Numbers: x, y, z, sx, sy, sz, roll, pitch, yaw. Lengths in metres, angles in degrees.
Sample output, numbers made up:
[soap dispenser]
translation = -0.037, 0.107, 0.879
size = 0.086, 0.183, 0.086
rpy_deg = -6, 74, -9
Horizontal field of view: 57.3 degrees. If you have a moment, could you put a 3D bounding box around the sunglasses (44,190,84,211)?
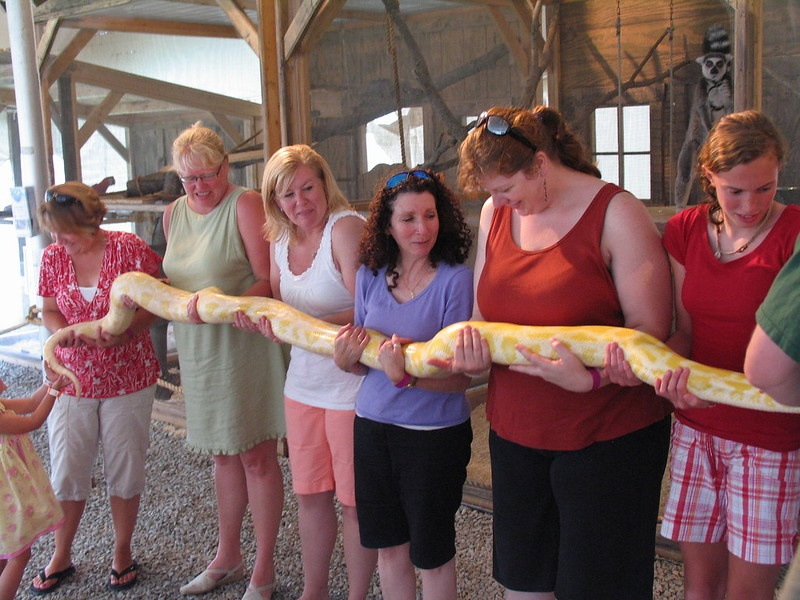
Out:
[sunglasses]
translation = -2.221, -0.660, 4.793
size = 0.117, 0.047, 0.147
rpy_deg = 5, -17, 2

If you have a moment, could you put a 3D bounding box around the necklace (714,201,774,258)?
[necklace]
translation = 1.743, -0.362, 3.750
size = 0.265, 0.282, 0.173
rpy_deg = 5, 10, 32

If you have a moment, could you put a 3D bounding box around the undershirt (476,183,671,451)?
[undershirt]
translation = 0.987, 0.160, 3.832
size = 0.767, 1.397, 0.835
rpy_deg = -6, 19, -38

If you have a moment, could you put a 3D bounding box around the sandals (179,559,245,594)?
[sandals]
translation = -1.272, 1.906, 4.993
size = 0.426, 0.140, 0.165
rpy_deg = -4, 4, -33
